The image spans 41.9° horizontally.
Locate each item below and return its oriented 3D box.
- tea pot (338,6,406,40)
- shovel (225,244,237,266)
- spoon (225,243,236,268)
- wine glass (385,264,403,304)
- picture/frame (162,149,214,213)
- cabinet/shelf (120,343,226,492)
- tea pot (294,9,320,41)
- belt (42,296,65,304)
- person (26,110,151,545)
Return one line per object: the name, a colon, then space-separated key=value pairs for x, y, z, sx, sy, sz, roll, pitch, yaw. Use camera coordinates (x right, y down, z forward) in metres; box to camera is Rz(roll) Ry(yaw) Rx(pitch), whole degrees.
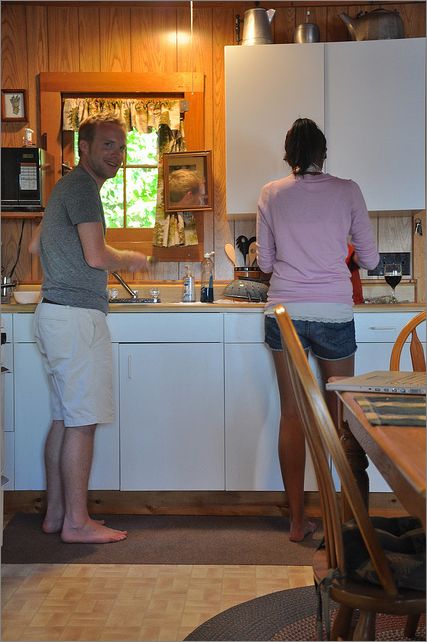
tea pot: x=0.773 y=-1.433 z=2.710 sx=0.267 sy=0.178 sz=0.204 roll=-3 pitch=26 yaw=5
shovel: x=0.093 y=-0.361 z=3.053 sx=0.067 sy=0.128 sz=0.037 roll=-1 pitch=-2 yaw=-2
spoon: x=0.092 y=-0.365 z=3.071 sx=0.043 sy=0.146 sz=0.021 roll=-23 pitch=-28 yaw=16
wine glass: x=0.889 y=-0.192 z=2.734 sx=0.068 sy=0.203 sz=0.440 roll=-2 pitch=-2 yaw=18
picture/frame: x=-0.139 y=-0.749 z=2.987 sx=0.323 sy=0.389 sz=0.029 roll=-1 pitch=3 yaw=4
cabinet/shelf: x=-0.183 y=0.407 z=2.551 sx=0.562 sy=0.837 sz=0.563 roll=0 pitch=-2 yaw=1
tea pot: x=0.463 y=-1.446 z=2.740 sx=0.087 sy=0.146 sz=0.148 roll=0 pitch=1 yaw=2
belt: x=-0.602 y=-0.072 z=2.057 sx=0.113 sy=0.033 sz=0.025 roll=-2 pitch=-2 yaw=35
person: x=-0.525 y=0.029 z=2.159 sx=0.420 sy=1.616 sz=0.318 roll=-2 pitch=-3 yaw=34
